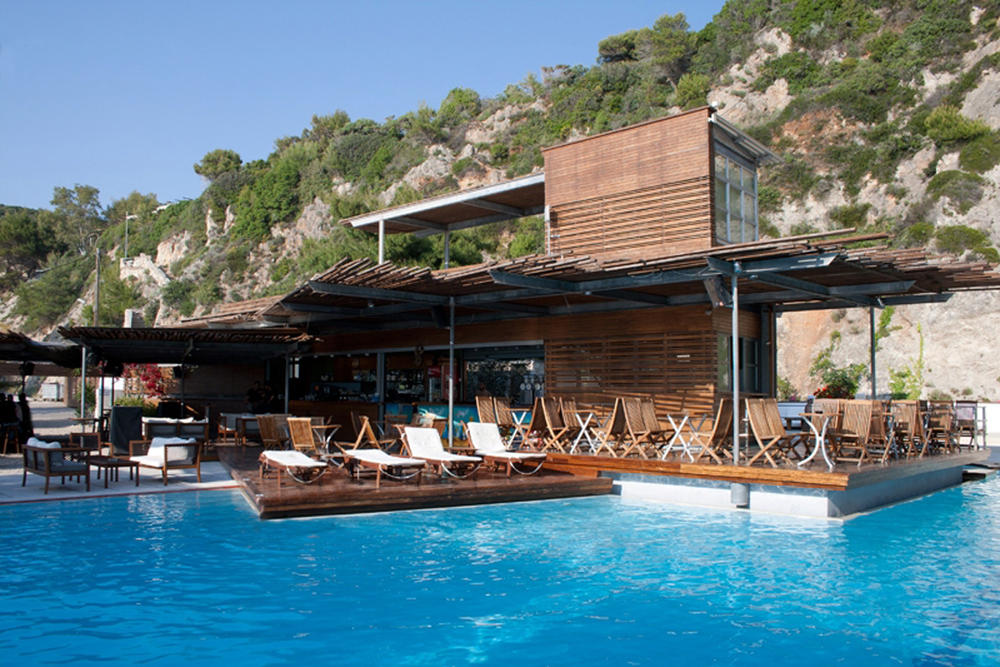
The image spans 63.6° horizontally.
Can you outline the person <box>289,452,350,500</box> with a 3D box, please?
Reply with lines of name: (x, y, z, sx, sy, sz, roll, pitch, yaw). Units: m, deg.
person: (-3.106, 2.463, 13.969, 0.872, 0.764, 0.858, 5, -11, -19)
